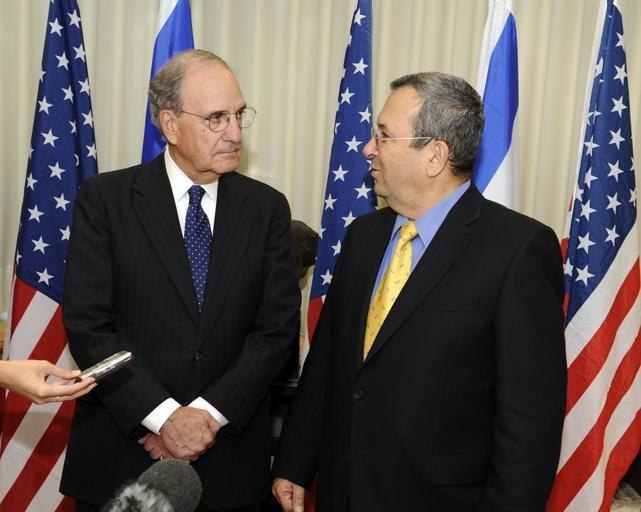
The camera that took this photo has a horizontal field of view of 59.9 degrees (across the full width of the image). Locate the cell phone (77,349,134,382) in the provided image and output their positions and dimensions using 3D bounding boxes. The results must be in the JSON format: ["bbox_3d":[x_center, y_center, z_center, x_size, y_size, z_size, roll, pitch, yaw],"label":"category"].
[{"bbox_3d":[-0.675,0.346,1.763,0.112,0.031,0.117,-29,5,-9],"label":"cell phone"}]

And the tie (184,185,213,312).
[{"bbox_3d":[-0.468,-0.043,2.130,0.081,0.496,0.068,6,-31,-13],"label":"tie"}]

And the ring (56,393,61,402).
[{"bbox_3d":[-0.830,0.450,1.767,0.015,0.018,0.004,-1,5,0],"label":"ring"}]
